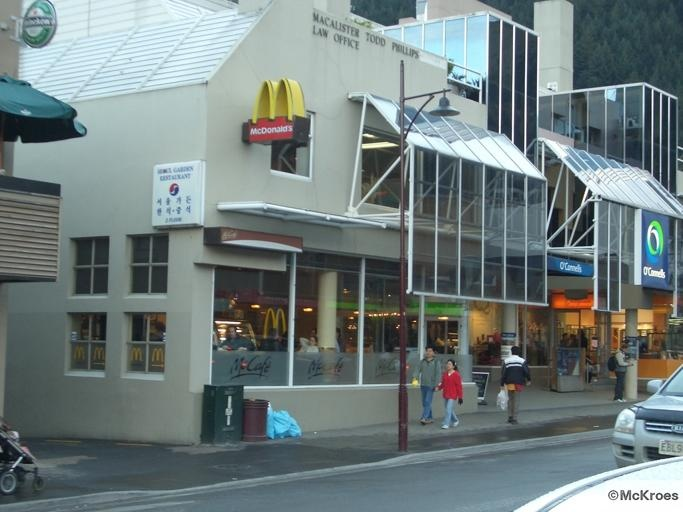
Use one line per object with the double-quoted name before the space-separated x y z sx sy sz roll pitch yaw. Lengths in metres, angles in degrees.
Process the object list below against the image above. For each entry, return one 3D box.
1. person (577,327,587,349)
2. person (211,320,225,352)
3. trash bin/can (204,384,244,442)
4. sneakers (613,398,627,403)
"person" 11.665 3.938 43.431 0.329 0.904 0.637 0 1 37
"person" -3.169 1.997 22.812 0.335 0.754 0.720 -1 -2 6
"trash bin/can" -2.915 4.209 22.352 1.203 1.595 1.000 6 -48 -11
"sneakers" 10.216 5.232 32.769 0.469 0.238 0.185 0 0 -15
